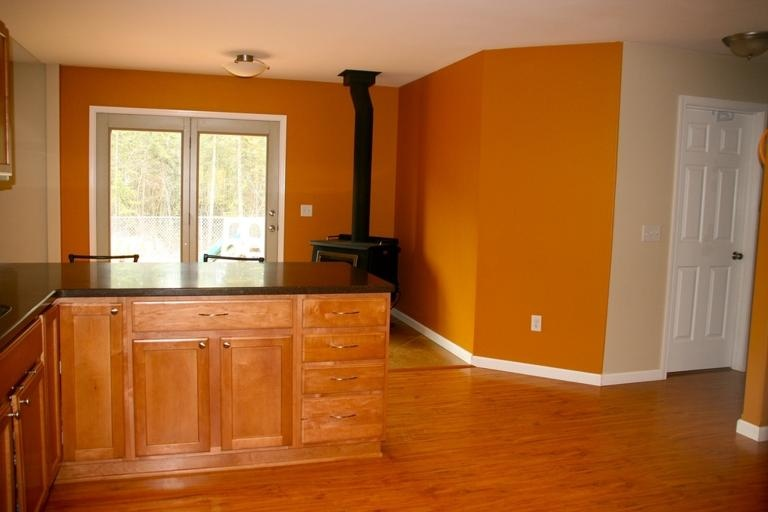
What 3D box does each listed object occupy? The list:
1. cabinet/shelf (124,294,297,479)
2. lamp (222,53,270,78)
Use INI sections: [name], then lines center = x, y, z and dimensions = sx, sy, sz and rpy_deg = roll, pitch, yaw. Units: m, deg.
[cabinet/shelf]
center = -1.181, 0.821, 3.926
dimensions = 1.366, 1.101, 0.533
rpy_deg = -1, 9, -12
[lamp]
center = -1.389, -1.935, 5.987
dimensions = 0.396, 0.205, 0.224
rpy_deg = -2, 7, -12
